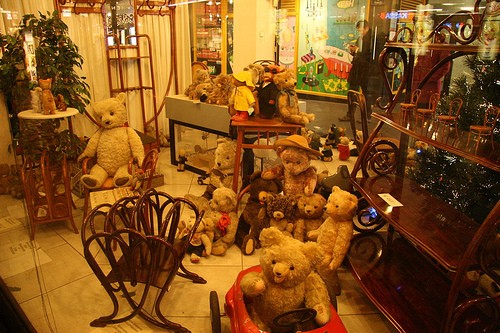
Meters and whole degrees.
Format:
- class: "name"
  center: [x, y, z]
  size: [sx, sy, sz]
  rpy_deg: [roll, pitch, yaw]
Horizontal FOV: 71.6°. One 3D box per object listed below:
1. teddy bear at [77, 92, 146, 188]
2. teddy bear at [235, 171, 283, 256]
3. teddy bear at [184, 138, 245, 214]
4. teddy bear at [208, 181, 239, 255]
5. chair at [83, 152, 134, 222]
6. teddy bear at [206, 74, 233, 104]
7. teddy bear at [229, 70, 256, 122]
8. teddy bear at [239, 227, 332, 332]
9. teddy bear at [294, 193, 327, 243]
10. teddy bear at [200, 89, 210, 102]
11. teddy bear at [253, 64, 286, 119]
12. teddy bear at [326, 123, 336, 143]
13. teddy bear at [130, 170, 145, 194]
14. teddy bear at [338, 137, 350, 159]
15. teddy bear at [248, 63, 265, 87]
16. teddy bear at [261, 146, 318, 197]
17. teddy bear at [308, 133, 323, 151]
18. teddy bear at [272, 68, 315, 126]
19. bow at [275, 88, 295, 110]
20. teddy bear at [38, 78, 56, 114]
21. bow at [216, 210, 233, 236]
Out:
- class: "teddy bear"
  center: [-1.605, -0.308, 3.952]
  size: [0.730, 1.004, 0.673]
  rpy_deg: [-6, 22, -23]
- class: "teddy bear"
  center: [0.135, 0.459, 3.735]
  size: [0.466, 0.841, 0.577]
  rpy_deg: [8, 20, -14]
- class: "teddy bear"
  center: [-0.392, 0.089, 3.986]
  size: [0.606, 0.855, 0.547]
  rpy_deg: [9, 23, 25]
- class: "teddy bear"
  center: [-0.254, 0.529, 3.599]
  size: [0.237, 0.302, 0.674]
  rpy_deg: [-8, 56, 6]
- class: "chair"
  center: [-1.669, 0.245, 4.050]
  size: [0.583, 0.755, 0.555]
  rpy_deg: [-10, 22, -28]
- class: "teddy bear"
  center: [-0.416, -1.111, 4.797]
  size: [0.344, 0.452, 0.303]
  rpy_deg: [0, 40, -2]
- class: "teddy bear"
  center: [-0.081, -0.839, 4.080]
  size: [0.325, 0.543, 0.526]
  rpy_deg: [0, 19, -3]
- class: "teddy bear"
  center: [0.271, 0.835, 2.466]
  size: [0.675, 0.727, 0.365]
  rpy_deg: [0, 19, -2]
- class: "teddy bear"
  center: [0.594, 0.525, 3.544]
  size: [0.370, 0.581, 0.322]
  rpy_deg: [7, 16, 9]
- class: "teddy bear"
  center: [-0.601, -1.014, 4.941]
  size: [0.097, 0.199, 0.190]
  rpy_deg: [7, 11, -4]
- class: "teddy bear"
  center: [0.219, -0.910, 4.127]
  size: [0.242, 0.642, 0.387]
  rpy_deg: [-1, 23, -34]
- class: "teddy bear"
  center: [1.348, -0.561, 5.703]
  size: [0.133, 0.323, 0.062]
  rpy_deg: [5, 20, 11]
- class: "teddy bear"
  center: [-1.261, 0.168, 3.882]
  size: [0.160, 0.305, 0.182]
  rpy_deg: [-7, 21, -22]
- class: "teddy bear"
  center: [1.520, -0.301, 5.614]
  size: [0.170, 0.336, 0.134]
  rpy_deg: [13, 23, 31]
- class: "teddy bear"
  center: [0.115, -1.168, 4.288]
  size: [0.213, 0.281, 0.163]
  rpy_deg: [20, 40, 29]
- class: "teddy bear"
  center: [0.414, 0.034, 3.573]
  size: [0.580, 0.524, 0.362]
  rpy_deg: [5, 20, 11]
- class: "teddy bear"
  center: [1.081, -0.430, 5.649]
  size: [0.211, 0.350, 0.303]
  rpy_deg: [6, 13, 41]
- class: "teddy bear"
  center: [0.487, -0.798, 3.957]
  size: [0.475, 0.583, 0.376]
  rpy_deg: [4, 20, 9]
- class: "bow"
  center: [0.411, -0.792, 3.965]
  size: [0.232, 0.233, 0.172]
  rpy_deg: [1, 4, 1]
- class: "teddy bear"
  center: [-2.242, -0.786, 3.834]
  size: [0.150, 0.369, 0.228]
  rpy_deg: [-10, 22, -28]
- class: "bow"
  center: [-0.272, 0.589, 3.595]
  size: [0.193, 0.289, 0.157]
  rpy_deg: [11, -8, 20]
